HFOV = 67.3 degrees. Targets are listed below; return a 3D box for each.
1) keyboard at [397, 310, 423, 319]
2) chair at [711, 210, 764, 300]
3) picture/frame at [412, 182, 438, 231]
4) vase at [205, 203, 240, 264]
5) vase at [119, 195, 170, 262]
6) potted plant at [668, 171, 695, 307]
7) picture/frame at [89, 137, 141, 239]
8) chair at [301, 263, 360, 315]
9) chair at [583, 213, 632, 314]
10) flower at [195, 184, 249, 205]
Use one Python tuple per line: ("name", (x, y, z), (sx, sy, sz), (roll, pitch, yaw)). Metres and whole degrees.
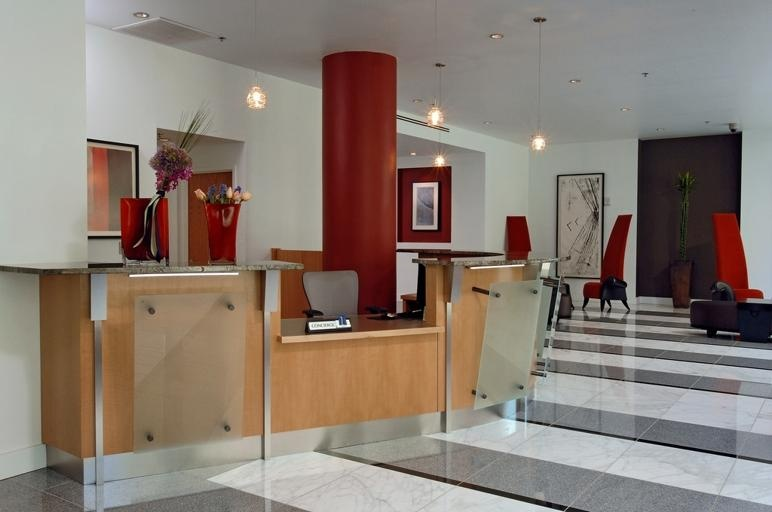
("keyboard", (0.228, 0.574, 5.715), (0.247, 0.058, 0.135), (2, 7, 10))
("chair", (6.211, -0.045, 10.281), (0.731, 1.356, 1.153), (3, 8, 25))
("picture/frame", (0.932, -1.191, 13.820), (0.724, 1.110, 0.120), (4, 8, 32))
("vase", (-1.443, -0.179, 5.066), (0.318, 0.507, 0.328), (-2, -8, 8))
("vase", (-2.098, -0.099, 5.019), (0.416, 0.642, 0.468), (2, -30, -28))
("potted plant", (6.519, -0.358, 12.721), (0.400, 2.951, 0.666), (3, 7, 26))
("picture/frame", (-3.408, -0.814, 7.099), (0.932, 1.140, 0.031), (5, 7, 23))
("chair", (-0.575, 0.358, 6.366), (0.475, 0.769, 0.497), (-2, -1, -22))
("chair", (4.683, 0.172, 12.156), (0.862, 2.126, 1.452), (3, 7, 24))
("flower", (-1.451, -0.550, 5.109), (0.424, 0.167, 0.418), (-2, 8, -17))
